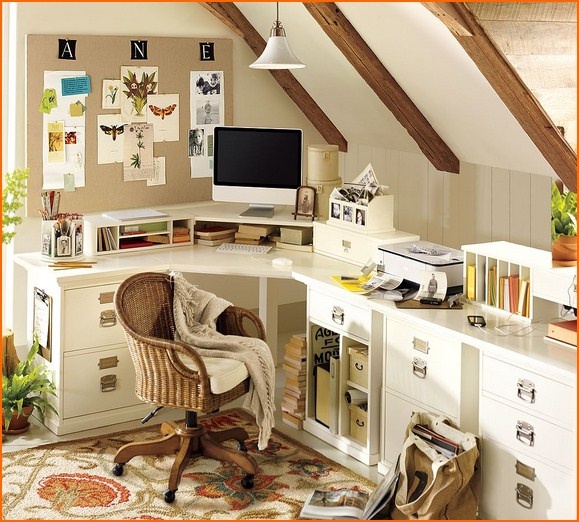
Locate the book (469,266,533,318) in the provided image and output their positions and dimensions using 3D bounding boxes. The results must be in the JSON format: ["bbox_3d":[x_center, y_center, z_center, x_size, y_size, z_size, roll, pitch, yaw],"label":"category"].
[{"bbox_3d":[0.932,0.139,2.371,0.072,0.120,0.199,-9,16,-33],"label":"book"}]

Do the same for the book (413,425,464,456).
[{"bbox_3d":[0.607,0.730,2.204,0.051,0.054,0.194,-39,30,-20],"label":"book"}]

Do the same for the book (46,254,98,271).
[{"bbox_3d":[-1.228,0.019,3.085,0.199,0.035,0.110,-2,14,-10],"label":"book"}]

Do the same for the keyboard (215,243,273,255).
[{"bbox_3d":[-0.281,-0.076,3.488,0.356,0.051,0.253,0,7,-7],"label":"keyboard"}]

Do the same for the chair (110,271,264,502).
[{"bbox_3d":[-0.483,0.584,2.692,0.646,0.898,0.731,2,5,13],"label":"chair"}]

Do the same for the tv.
[{"bbox_3d":[-0.209,-0.592,3.604,0.598,0.575,0.185,5,15,10],"label":"tv"}]

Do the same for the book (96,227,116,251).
[{"bbox_3d":[-1.127,-0.135,3.334,0.129,0.179,0.129,-1,0,-25],"label":"book"}]
